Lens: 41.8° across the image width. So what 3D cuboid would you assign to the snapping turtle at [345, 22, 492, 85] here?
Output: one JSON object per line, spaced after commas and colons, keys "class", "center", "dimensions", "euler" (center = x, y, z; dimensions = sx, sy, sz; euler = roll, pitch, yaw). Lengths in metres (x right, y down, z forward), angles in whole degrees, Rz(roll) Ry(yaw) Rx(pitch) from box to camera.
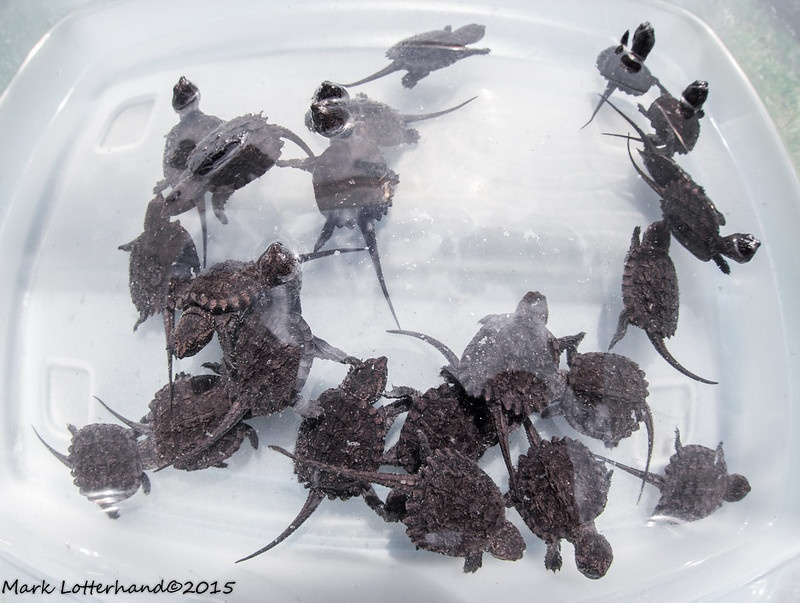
{"class": "snapping turtle", "center": [0.334, -3.144, 13.303], "dimensions": [1.673, 0.244, 0.791], "euler": [-19, 80, 2]}
